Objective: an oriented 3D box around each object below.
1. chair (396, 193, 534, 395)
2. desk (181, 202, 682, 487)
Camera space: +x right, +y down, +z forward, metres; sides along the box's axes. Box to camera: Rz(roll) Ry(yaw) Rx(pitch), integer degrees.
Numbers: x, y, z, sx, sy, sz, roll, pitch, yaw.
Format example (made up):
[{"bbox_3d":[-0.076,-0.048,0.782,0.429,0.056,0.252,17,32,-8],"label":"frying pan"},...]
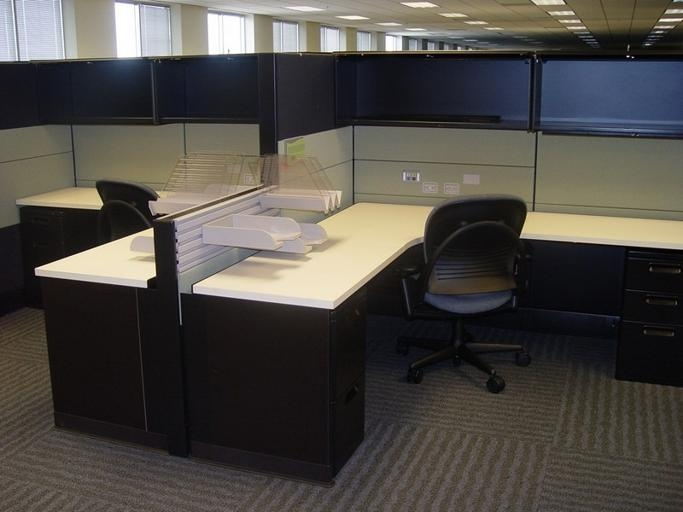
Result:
[{"bbox_3d":[0.715,0.174,3.233,0.807,1.058,0.776,-2,9,3],"label":"chair"},{"bbox_3d":[0.045,0.292,3.037,1.681,0.677,1.720,5,19,22],"label":"desk"}]
